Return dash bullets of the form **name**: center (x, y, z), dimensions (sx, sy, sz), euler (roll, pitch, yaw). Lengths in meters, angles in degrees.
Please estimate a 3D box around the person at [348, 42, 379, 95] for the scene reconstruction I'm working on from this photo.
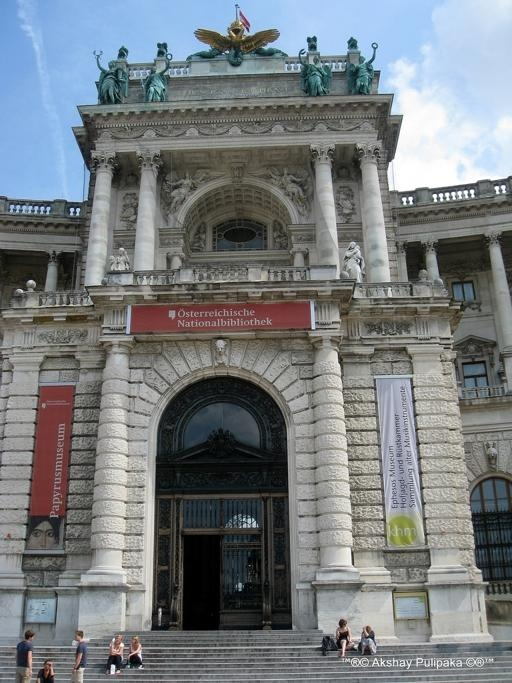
- **person**: center (5.459, -14.131, 34.809), dimensions (1.422, 2.759, 0.847), euler (1, -4, 13)

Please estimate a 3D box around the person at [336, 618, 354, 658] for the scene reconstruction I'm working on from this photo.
- **person**: center (2.144, 7.299, 16.409), dimensions (0.389, 0.840, 0.997), euler (-4, -25, 5)

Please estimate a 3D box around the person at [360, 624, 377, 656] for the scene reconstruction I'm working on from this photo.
- **person**: center (2.690, 7.316, 16.320), dimensions (0.402, 0.637, 0.706), euler (-5, -26, 8)

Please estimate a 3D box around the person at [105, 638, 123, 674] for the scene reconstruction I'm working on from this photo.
- **person**: center (-3.144, 7.015, 14.930), dimensions (0.364, 0.787, 0.909), euler (4, -26, -10)

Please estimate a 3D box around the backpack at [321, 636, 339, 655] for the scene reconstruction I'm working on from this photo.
- **backpack**: center (1.761, 7.458, 16.330), dimensions (0.383, 0.410, 0.488), euler (-3, -25, 3)

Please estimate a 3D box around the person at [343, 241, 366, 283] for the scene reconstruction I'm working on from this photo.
- **person**: center (3.630, -2.914, 24.953), dimensions (0.760, 1.932, 0.608), euler (1, -27, -5)
